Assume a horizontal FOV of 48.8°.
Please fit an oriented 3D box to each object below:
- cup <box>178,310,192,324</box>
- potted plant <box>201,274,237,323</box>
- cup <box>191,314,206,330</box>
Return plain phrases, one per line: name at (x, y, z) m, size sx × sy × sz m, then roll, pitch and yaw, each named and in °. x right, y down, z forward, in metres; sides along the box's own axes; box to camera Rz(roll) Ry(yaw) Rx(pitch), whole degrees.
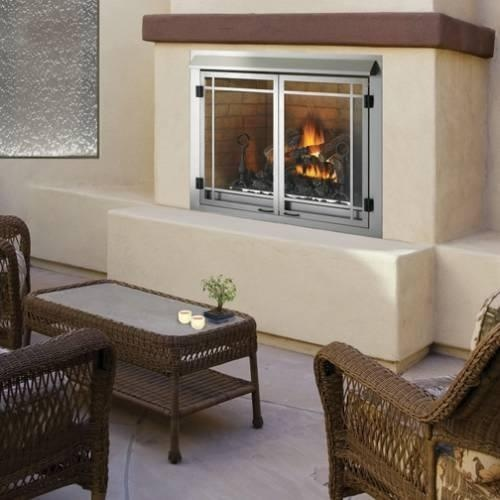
cup at (-0.290, 0.287, 2.446) m, size 0.049 × 0.044 × 0.054 m, roll 5°, pitch 10°, yaw 13°
potted plant at (-0.147, 0.238, 2.776) m, size 0.177 × 0.284 × 0.198 m, roll 5°, pitch 6°, yaw 41°
cup at (-0.228, 0.307, 2.379) m, size 0.046 × 0.042 × 0.051 m, roll 1°, pitch 3°, yaw 4°
